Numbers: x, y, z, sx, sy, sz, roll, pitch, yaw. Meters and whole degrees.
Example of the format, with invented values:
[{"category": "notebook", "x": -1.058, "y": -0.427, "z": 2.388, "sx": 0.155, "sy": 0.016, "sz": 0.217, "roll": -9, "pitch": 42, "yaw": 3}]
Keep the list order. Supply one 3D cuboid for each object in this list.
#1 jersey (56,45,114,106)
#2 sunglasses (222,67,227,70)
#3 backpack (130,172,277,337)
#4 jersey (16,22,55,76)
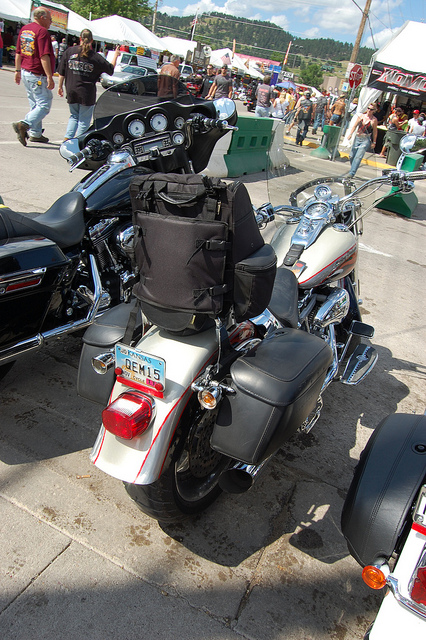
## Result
[{"category": "jersey", "x": -2.283, "y": -4.390, "z": 7.990, "sx": 1.029, "sy": 0.923, "sz": 0.537, "roll": -5, "pitch": 42, "yaw": -20}, {"category": "sunglasses", "x": 0.390, "y": -8.207, "z": 14.593, "sx": 0.140, "sy": 0.048, "sz": 0.142, "roll": 8, "pitch": 24, "yaw": -11}, {"category": "backpack", "x": -0.080, "y": -0.273, "z": 1.749, "sx": 0.594, "sy": 0.583, "sz": 0.346, "roll": 15, "pitch": 28, "yaw": 25}, {"category": "jersey", "x": -3.089, "y": -4.680, "z": 7.711, "sx": 0.680, "sy": 0.758, "sz": 0.265, "roll": 21, "pitch": 24, "yaw": 19}]
